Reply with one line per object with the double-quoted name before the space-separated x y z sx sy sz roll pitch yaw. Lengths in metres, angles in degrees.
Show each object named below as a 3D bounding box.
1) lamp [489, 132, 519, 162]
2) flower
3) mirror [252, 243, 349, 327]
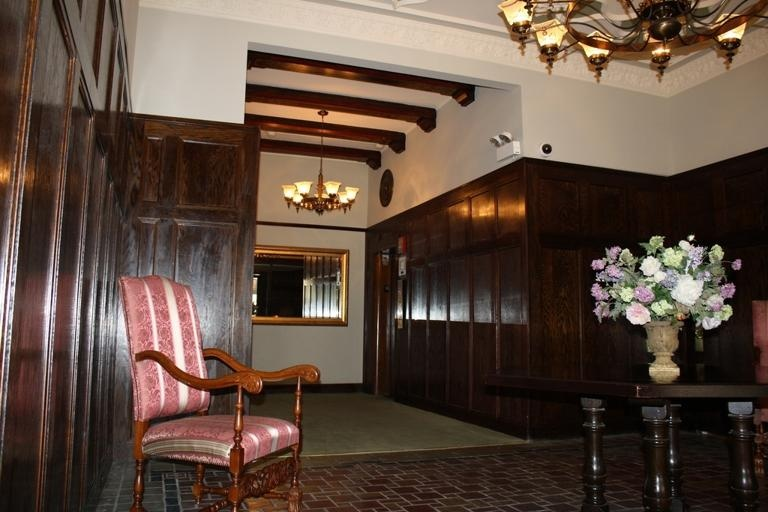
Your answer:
"lamp" 1.404 -1.280 6.226 0.157 0.307 0.442 4 -7 -30
"flower" 1.771 0.185 3.524 0.961 0.841 0.963 2 0 -2
"mirror" -1.568 0.557 9.396 1.432 1.074 0.234 3 -10 -19
